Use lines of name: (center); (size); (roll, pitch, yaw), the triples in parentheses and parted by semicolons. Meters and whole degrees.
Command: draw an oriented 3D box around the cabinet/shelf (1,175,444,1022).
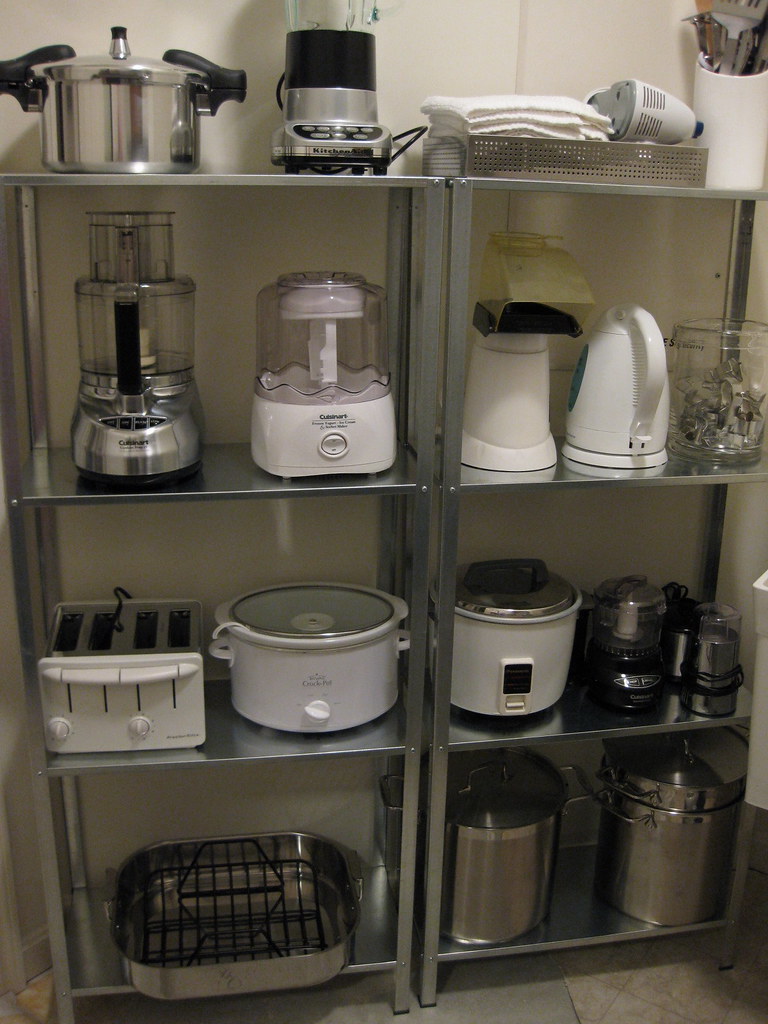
cabinet/shelf: (-0.286, 0.143, 1.588); (0.687, 1.371, 0.401); (-1, 16, -14)

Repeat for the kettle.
kettle: (0.346, -0.185, 1.343); (0.157, 0.243, 0.128); (4, 18, 17)

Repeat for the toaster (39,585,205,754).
toaster: (-0.390, 0.239, 1.369); (0.222, 0.168, 0.293); (-5, 19, -11)

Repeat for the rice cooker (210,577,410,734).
rice cooker: (-0.114, 0.227, 1.416); (0.302, 0.196, 0.275); (-2, 18, -1)

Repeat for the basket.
basket: (0.244, -0.488, 1.234); (0.410, 0.083, 0.281); (1, 19, 8)

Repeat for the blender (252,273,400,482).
blender: (-0.099, -0.166, 1.253); (0.278, 0.340, 0.193); (-1, 15, -10)

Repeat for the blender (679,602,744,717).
blender: (0.561, 0.252, 1.528); (0.094, 0.152, 0.161); (7, 20, 24)

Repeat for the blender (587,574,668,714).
blender: (0.408, 0.215, 1.514); (0.118, 0.214, 0.139); (0, 17, -3)

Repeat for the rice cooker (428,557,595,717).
rice cooker: (0.211, 0.194, 1.488); (0.218, 0.216, 0.256); (-2, 18, -3)

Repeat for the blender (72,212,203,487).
blender: (-0.346, -0.231, 1.243); (0.186, 0.354, 0.341); (-5, 18, -12)

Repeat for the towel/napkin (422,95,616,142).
towel/napkin: (0.184, -0.526, 1.198); (0.194, 0.043, 0.222); (-2, 24, -16)

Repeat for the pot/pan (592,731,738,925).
pot/pan: (0.491, 0.579, 1.702); (0.251, 0.320, 0.244); (-1, 15, -10)
